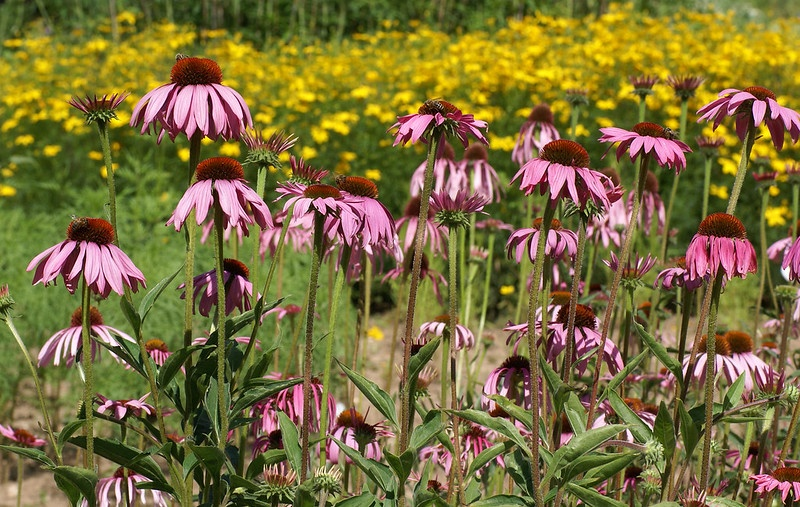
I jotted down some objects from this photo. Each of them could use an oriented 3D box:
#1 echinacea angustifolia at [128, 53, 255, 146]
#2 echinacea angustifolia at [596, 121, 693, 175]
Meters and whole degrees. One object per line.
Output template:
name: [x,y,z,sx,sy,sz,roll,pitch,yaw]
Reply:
echinacea angustifolia: [-1.387,-1.055,7.166,0.713,0.518,0.716,-8,13,-38]
echinacea angustifolia: [1.703,-0.735,7.224,0.693,0.294,0.669,10,-5,37]
